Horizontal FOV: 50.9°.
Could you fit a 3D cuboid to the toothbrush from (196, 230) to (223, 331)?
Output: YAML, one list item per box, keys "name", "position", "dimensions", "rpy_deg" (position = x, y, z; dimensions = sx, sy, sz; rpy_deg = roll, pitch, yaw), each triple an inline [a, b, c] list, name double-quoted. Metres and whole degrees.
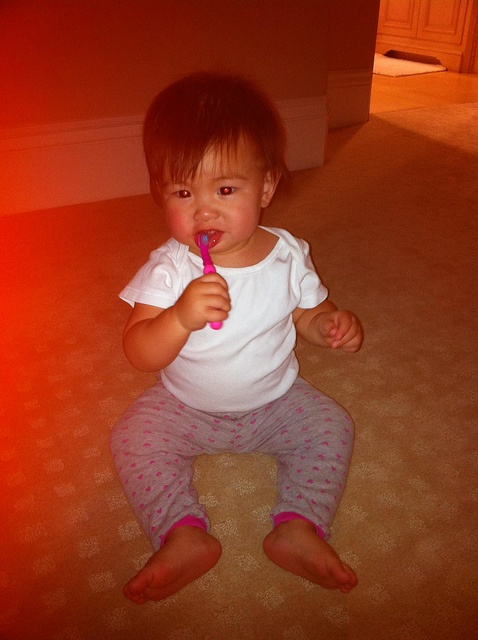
- name: "toothbrush"
  position: [-0.038, -0.055, 0.647]
  dimensions: [0.023, 0.021, 0.136]
  rpy_deg: [-9, 69, 8]
